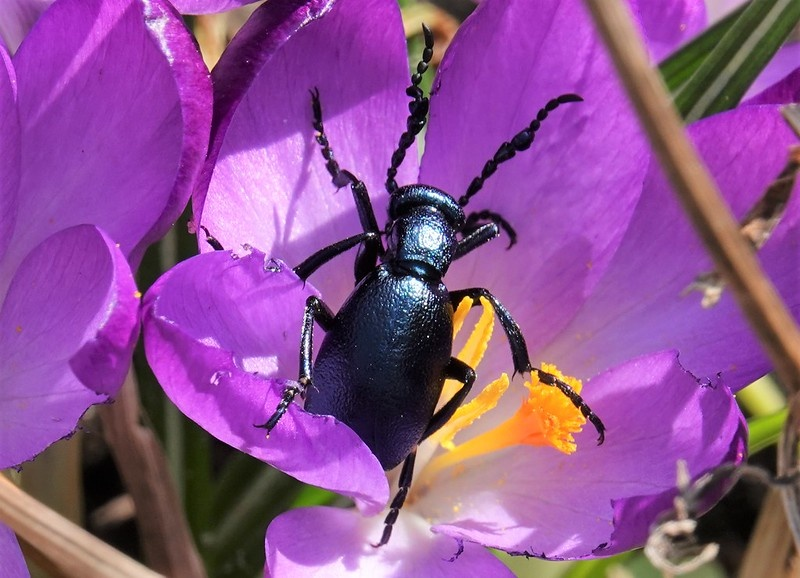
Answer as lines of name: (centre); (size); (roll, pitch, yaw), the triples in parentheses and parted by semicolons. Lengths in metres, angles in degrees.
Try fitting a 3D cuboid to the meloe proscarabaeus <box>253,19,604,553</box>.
meloe proscarabaeus: (-0.008, 0.018, 0.770); (0.315, 0.091, 0.366); (7, 77, -8)
